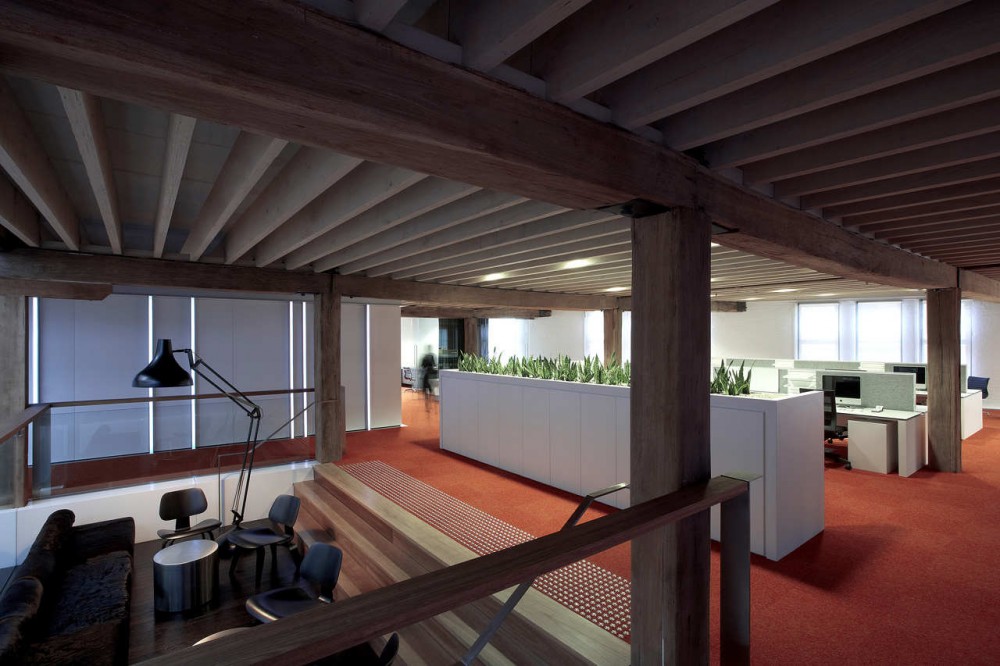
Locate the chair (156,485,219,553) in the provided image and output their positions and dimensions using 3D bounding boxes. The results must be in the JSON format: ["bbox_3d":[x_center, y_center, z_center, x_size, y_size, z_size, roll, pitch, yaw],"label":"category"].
[{"bbox_3d":[-2.811,1.767,5.395,0.461,0.613,0.494,-5,-2,40],"label":"chair"}]

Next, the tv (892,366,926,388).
[{"bbox_3d":[5.420,0.576,7.957,0.349,0.238,0.184,0,0,-10],"label":"tv"}]

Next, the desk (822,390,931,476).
[{"bbox_3d":[4.517,1.090,7.238,0.654,0.857,1.235,0,-1,-24],"label":"desk"}]

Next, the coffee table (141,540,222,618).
[{"bbox_3d":[-2.585,1.984,4.926,0.419,0.443,0.429,-6,16,-45],"label":"coffee table"}]

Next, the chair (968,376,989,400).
[{"bbox_3d":[7.980,0.919,10.017,0.307,0.424,0.363,-10,-17,42],"label":"chair"}]
